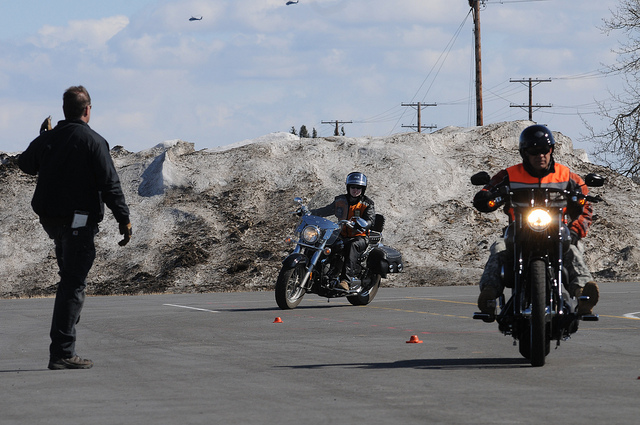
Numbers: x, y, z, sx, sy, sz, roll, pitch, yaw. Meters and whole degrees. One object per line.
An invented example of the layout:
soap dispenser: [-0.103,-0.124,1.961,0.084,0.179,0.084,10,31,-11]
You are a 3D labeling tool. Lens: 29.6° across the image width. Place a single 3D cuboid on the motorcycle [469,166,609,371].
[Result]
motorcycle: [3.642,1.008,20.132,1.706,3.144,1.019,2,-3,10]
